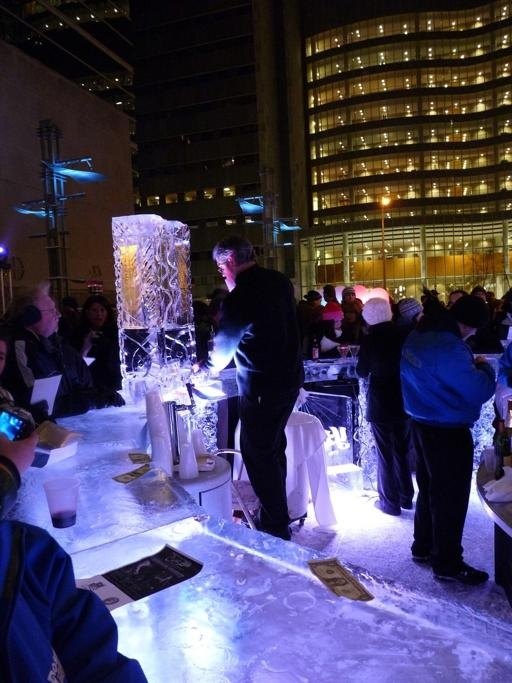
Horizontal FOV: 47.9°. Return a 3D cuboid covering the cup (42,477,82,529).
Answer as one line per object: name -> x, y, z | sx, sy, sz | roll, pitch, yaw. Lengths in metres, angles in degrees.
cup -> -0.440, 0.380, 1.368 | 0.099, 0.102, 0.095 | 0, 0, 0

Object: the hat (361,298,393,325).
hat -> 0.749, -0.184, 3.566 | 0.160, 0.175, 0.180 | 0, 12, 13

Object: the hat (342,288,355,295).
hat -> 0.919, -0.500, 5.736 | 0.089, 0.087, 0.119 | -9, -9, 2

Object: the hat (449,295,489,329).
hat -> 0.964, -0.123, 2.587 | 0.201, 0.161, 0.123 | -8, 14, -20

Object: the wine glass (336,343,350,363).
wine glass -> 0.678, 0.071, 4.514 | 0.098, 0.106, 0.098 | -1, 0, -38

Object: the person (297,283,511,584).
person -> 0.889, 0.488, 2.722 | 0.312, 1.403, 0.464 | -8, 14, -19

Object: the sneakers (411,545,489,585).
sneakers -> 0.926, 1.084, 2.800 | 0.324, 0.133, 0.108 | -2, -1, 21
